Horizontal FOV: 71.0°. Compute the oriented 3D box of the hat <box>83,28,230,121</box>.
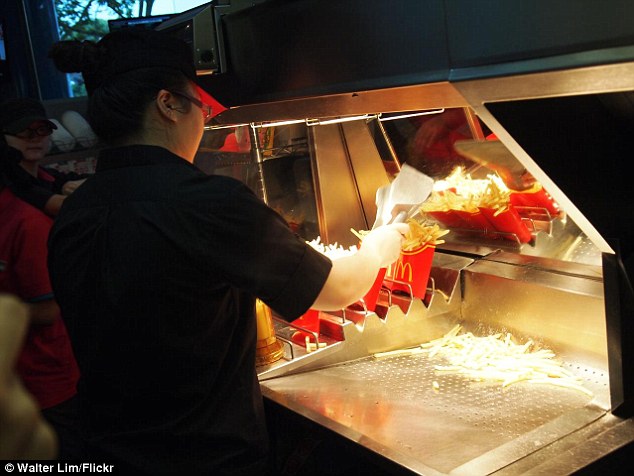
[{"bbox_3d":[-0.418,-0.464,1.152,0.337,0.166,0.211,-16,20,-24],"label":"hat"}]

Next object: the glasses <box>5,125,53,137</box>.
[{"bbox_3d":[-1.529,-0.578,2.410,0.115,0.032,0.113,-13,2,26],"label":"glasses"}]
